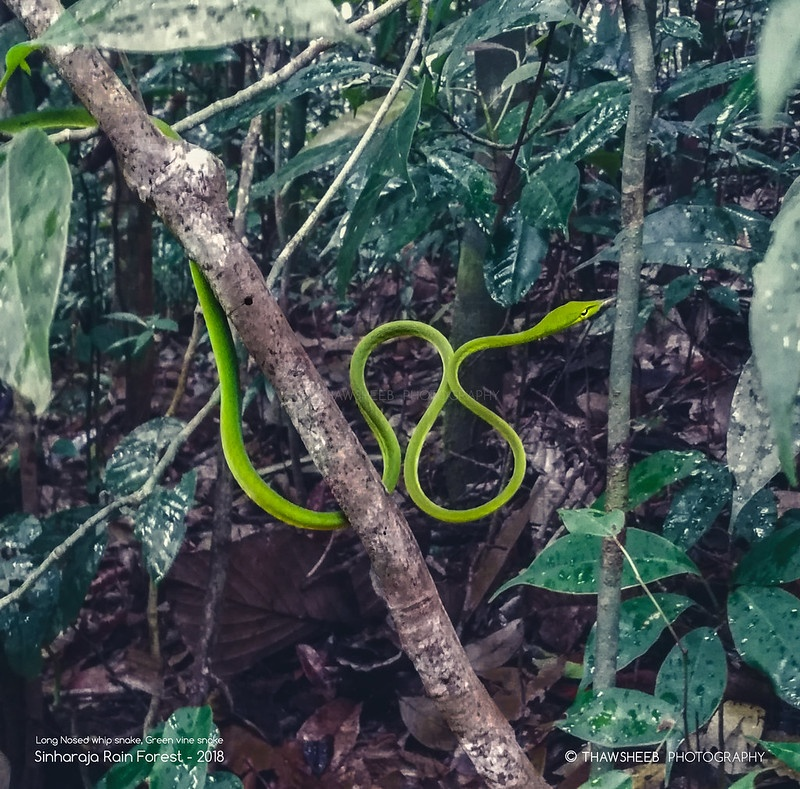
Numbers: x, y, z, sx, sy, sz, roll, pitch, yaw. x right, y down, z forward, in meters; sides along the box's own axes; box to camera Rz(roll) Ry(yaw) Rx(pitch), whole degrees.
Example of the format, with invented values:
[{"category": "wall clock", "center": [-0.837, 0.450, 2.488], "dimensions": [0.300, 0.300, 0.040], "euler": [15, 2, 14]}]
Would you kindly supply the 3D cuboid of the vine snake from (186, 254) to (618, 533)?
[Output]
[{"category": "vine snake", "center": [-0.004, 0.004, 1.770], "dimensions": [0.618, 0.055, 0.572], "euler": [-14, 79, -24]}]
